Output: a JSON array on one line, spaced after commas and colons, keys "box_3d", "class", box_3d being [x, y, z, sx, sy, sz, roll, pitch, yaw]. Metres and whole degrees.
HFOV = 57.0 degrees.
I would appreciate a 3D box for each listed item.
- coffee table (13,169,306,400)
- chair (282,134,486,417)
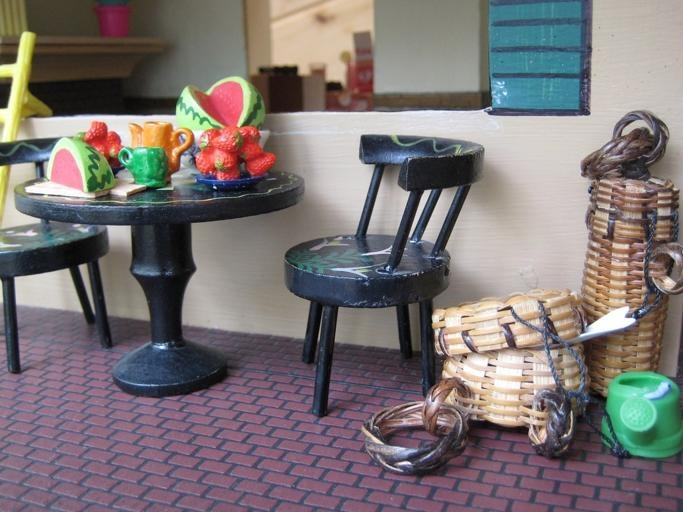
[{"box_3d": [-0.683, 0.087, 2.552, 1.223, 0.664, 1.100, -6, 11, -31], "class": "coffee table"}, {"box_3d": [0.162, 0.047, 2.466, 0.761, 0.989, 0.604, -4, 20, -3], "class": "chair"}]
